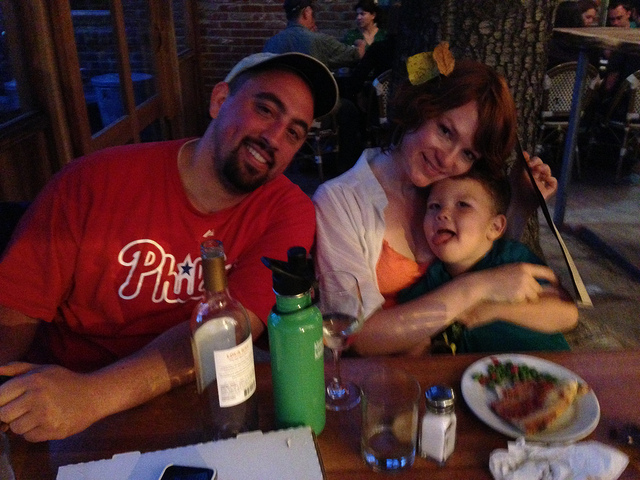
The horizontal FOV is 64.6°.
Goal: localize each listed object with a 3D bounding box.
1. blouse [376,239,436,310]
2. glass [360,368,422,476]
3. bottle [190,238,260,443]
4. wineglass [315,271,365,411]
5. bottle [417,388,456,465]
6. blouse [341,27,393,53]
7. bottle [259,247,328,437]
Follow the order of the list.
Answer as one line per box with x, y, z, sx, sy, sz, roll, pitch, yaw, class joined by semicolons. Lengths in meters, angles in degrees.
0.305;0.124;1.829;0.177;0.250;0.134;-8;21;-20;blouse
0.153;0.436;1.173;0.124;0.230;0.120;3;22;-2;glass
-0.212;0.282;1.147;0.137;0.366;0.121;-6;23;-16;bottle
0.046;0.253;1.294;0.144;0.337;0.139;-11;19;-27;wineglass
0.265;0.410;1.137;0.084;0.153;0.080;1;12;0;bottle
0.535;-2.261;5.668;0.535;0.212;0.867;4;23;6;blouse
-0.051;0.234;1.139;0.128;0.433;0.127;-3;16;1;bottle
